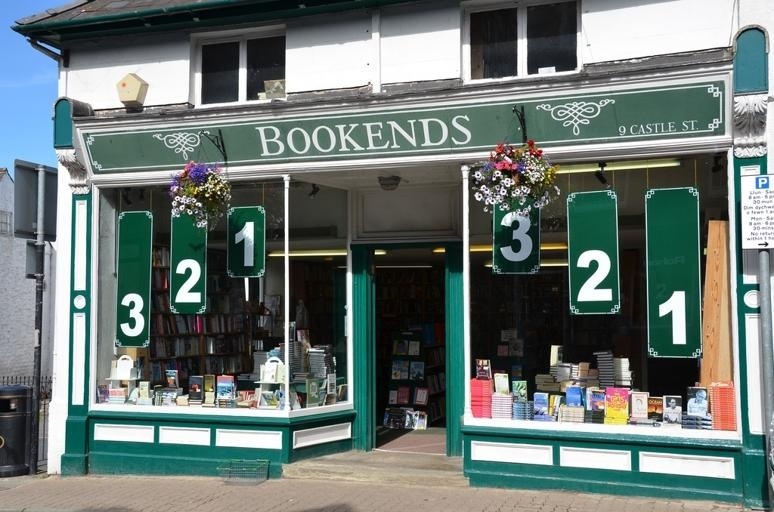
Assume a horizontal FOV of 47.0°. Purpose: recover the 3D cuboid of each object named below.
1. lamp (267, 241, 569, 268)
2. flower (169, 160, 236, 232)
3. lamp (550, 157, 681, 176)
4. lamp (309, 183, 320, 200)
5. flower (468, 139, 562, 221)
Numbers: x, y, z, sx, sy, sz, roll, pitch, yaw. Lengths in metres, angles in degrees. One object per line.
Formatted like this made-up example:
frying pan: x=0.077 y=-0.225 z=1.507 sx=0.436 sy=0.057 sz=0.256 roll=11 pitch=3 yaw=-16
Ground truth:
lamp: x=0.703 y=0.052 z=13.900 sx=4.202 sy=0.433 sz=1.096 roll=-2 pitch=-4 yaw=15
flower: x=-2.866 y=-0.899 z=13.578 sx=0.965 sy=1.063 sz=1.029 roll=1 pitch=3 yaw=-4
lamp: x=3.302 y=-1.274 z=12.738 sx=1.692 sy=0.152 sz=0.065 roll=-2 pitch=-4 yaw=15
lamp: x=-1.162 y=-1.016 z=14.143 sx=0.074 sy=0.224 sz=0.191 roll=-5 pitch=-5 yaw=42
flower: x=1.757 y=-1.124 z=12.643 sx=1.098 sy=0.891 sz=1.065 roll=-8 pitch=22 yaw=-15
